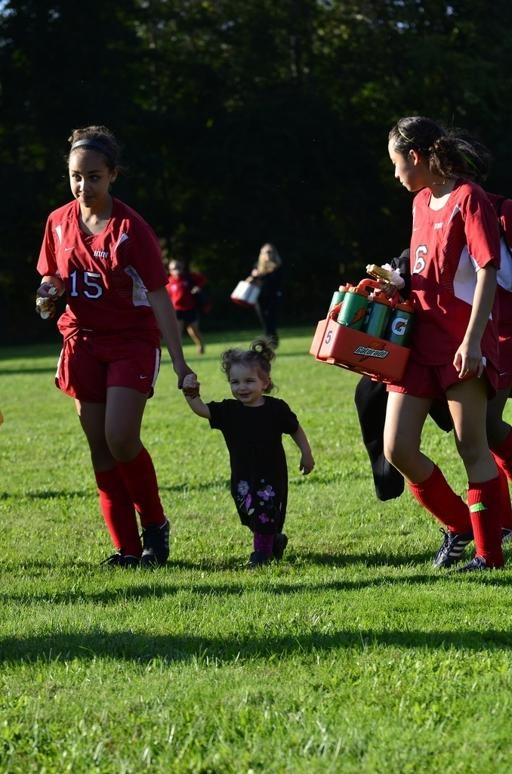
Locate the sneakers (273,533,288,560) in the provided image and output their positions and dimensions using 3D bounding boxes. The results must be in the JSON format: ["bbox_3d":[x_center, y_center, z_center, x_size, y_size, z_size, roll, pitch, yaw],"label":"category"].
[{"bbox_3d":[0.124,0.803,4.494,0.053,0.093,0.142,6,21,6],"label":"sneakers"}]

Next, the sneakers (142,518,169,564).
[{"bbox_3d":[-0.515,0.770,4.402,0.096,0.094,0.228,-4,47,12],"label":"sneakers"}]

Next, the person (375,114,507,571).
[{"bbox_3d":[0.851,-0.128,3.825,0.438,1.996,0.551,-9,16,-39],"label":"person"}]

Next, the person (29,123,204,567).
[{"bbox_3d":[-0.661,-0.014,4.248,0.829,1.792,0.458,3,12,7],"label":"person"}]

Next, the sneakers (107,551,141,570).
[{"bbox_3d":[-0.660,0.855,4.346,0.177,0.057,0.058,7,-2,8],"label":"sneakers"}]

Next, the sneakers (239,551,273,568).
[{"bbox_3d":[0.007,0.853,4.356,0.082,0.055,0.185,-2,-2,8],"label":"sneakers"}]

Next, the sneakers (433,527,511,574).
[{"bbox_3d":[1.009,0.756,4.107,0.481,0.178,0.151,-2,2,-28],"label":"sneakers"}]
